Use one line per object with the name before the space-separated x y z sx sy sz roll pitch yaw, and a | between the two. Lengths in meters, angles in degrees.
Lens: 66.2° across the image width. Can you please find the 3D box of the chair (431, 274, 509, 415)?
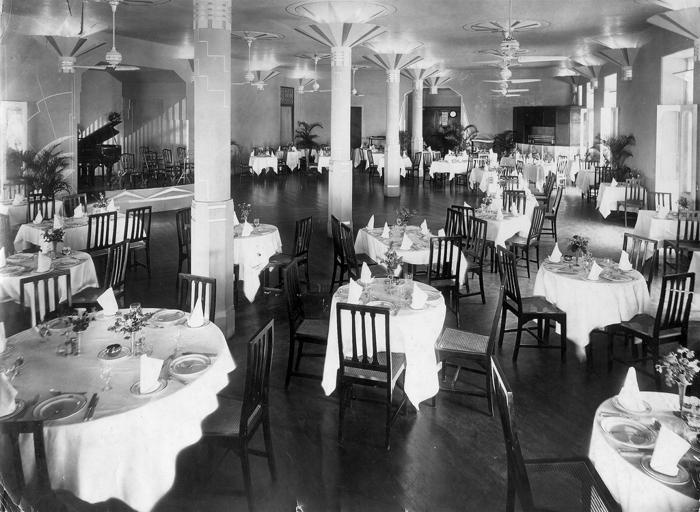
chair | 1.296 0.992 5.882 0.725 1.538 0.768 8 19 19

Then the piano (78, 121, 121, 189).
piano | -6.993 -2.899 15.059 0.897 1.701 1.100 -3 7 -44

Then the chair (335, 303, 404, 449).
chair | 0.173 1.100 4.984 0.710 1.541 0.874 3 34 9

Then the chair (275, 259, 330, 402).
chair | -0.379 0.758 5.758 0.626 1.123 0.656 2 9 -3

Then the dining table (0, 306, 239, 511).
dining table | -1.948 1.163 4.373 1.902 1.066 1.635 2 8 27

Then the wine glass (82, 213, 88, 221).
wine glass | -4.578 -0.671 9.228 0.086 0.103 0.794 -5 8 -25

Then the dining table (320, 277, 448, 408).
dining table | 0.430 0.525 5.380 1.103 0.962 1.218 6 30 12
